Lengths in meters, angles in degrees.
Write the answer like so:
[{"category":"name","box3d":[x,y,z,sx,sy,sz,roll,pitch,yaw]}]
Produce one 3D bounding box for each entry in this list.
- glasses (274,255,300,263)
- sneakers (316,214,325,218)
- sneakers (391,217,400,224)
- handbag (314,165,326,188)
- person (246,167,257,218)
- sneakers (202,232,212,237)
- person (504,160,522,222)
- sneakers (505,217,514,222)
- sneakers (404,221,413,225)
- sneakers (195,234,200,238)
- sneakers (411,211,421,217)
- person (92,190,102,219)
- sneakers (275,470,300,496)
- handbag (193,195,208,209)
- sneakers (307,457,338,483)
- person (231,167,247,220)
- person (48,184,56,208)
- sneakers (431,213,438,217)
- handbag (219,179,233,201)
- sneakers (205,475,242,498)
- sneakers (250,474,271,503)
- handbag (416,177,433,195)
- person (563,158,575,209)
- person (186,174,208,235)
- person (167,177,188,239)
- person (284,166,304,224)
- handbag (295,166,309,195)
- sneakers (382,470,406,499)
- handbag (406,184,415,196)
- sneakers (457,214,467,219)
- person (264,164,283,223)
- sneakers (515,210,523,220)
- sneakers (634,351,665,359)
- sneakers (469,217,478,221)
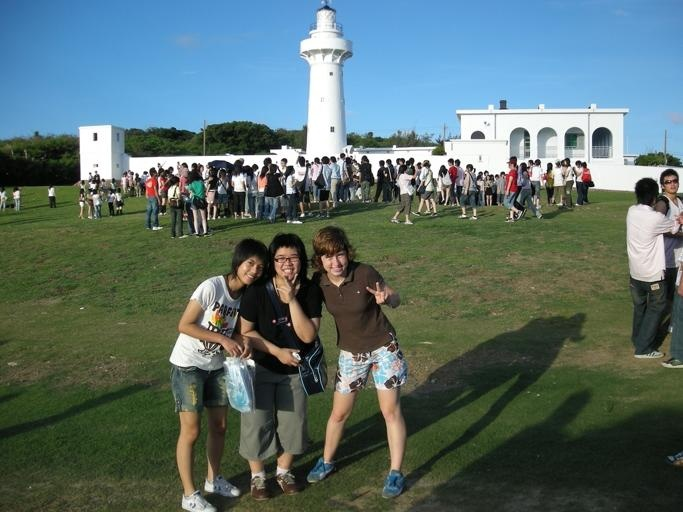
[{"category":"glasses","box3d":[-0.490,0.025,4.707,0.203,0.074,0.062,-2,8,-10]},{"category":"sneakers","box3d":[-0.778,-1.531,19.943,0.133,0.168,0.281,-2,-1,16]},{"category":"sneakers","box3d":[1.855,-1.227,18.296,0.368,0.183,0.141,4,5,10]},{"category":"handbag","box3d":[-0.837,-2.915,20.132,0.433,0.634,1.324,-1,9,-2]},{"category":"person","box3d":[-3.405,-2.397,19.778,0.400,1.837,0.767,-2,7,-11]},{"category":"sneakers","box3d":[-4.238,-0.699,16.488,0.203,0.096,0.136,-18,10,-27]},{"category":"person","box3d":[5.724,-2.292,17.896,0.865,2.054,0.607,7,12,39]},{"category":"sneakers","box3d":[5.701,-1.239,17.878,0.285,0.134,0.119,1,3,-10]},{"category":"sneakers","box3d":[2.260,-1.123,17.692,0.280,0.138,0.098,-1,25,-12]},{"category":"sneakers","box3d":[-4.509,-0.648,16.427,0.143,0.110,0.083,1,1,29]},{"category":"sneakers","box3d":[2.915,-1.646,20.452,0.130,0.148,0.363,-4,18,-34]},{"category":"person","box3d":[-10.558,-2.225,22.656,0.313,1.109,1.685,-4,9,-25]},{"category":"sneakers","box3d":[-0.511,2.127,4.963,0.118,0.120,0.282,1,6,-33]},{"category":"handbag","box3d":[-4.330,-1.641,16.139,0.507,0.501,0.308,0,3,-5]},{"category":"sneakers","box3d":[-0.188,2.104,5.186,0.126,0.169,0.338,-5,-5,27]},{"category":"person","box3d":[-3.761,-2.372,19.455,0.505,1.928,0.640,-4,8,-30]},{"category":"person","box3d":[-16.544,-3.420,30.072,0.306,1.193,1.812,-4,9,-31]},{"category":"sneakers","box3d":[3.409,-1.565,19.627,0.113,0.140,0.334,-5,10,-39]},{"category":"handbag","box3d":[-4.206,-2.439,19.011,0.644,0.841,0.419,-6,17,-28]},{"category":"sneakers","box3d":[-1.122,2.176,5.016,0.386,0.181,0.149,10,8,10]},{"category":"sneakers","box3d":[-0.755,2.147,4.869,0.112,0.112,0.273,0,-1,-13]},{"category":"handbag","box3d":[3.122,-2.607,19.641,0.403,0.766,0.544,3,0,-10]},{"category":"person","box3d":[9.312,-3.041,21.615,0.409,1.950,1.470,3,8,23]},{"category":"person","box3d":[-4.509,-1.687,16.306,0.584,1.983,0.620,-12,17,-33]},{"category":"person","box3d":[-5.076,-1.562,16.338,0.492,1.881,0.601,0,2,31]},{"category":"person","box3d":[-1.726,-2.219,18.715,0.529,1.977,1.567,-1,8,-6]},{"category":"handbag","box3d":[-1.529,-2.941,19.694,0.702,0.927,0.335,-2,-14,32]},{"category":"sneakers","box3d":[0.490,2.102,4.940,0.229,0.243,0.212,0,8,0]},{"category":"handbag","box3d":[2.346,-2.234,17.709,0.291,0.431,0.313,7,13,0]},{"category":"sneakers","box3d":[4.395,-1.461,19.205,0.312,0.157,0.149,4,5,35]},{"category":"person","box3d":[-2.405,-2.249,18.036,0.722,2.051,0.618,3,22,-11]},{"category":"sneakers","box3d":[6.174,-1.444,18.339,0.164,0.220,0.515,5,26,18]},{"category":"sneakers","box3d":[4.326,1.401,7.403,0.355,0.158,0.136,-2,1,7]},{"category":"sneakers","box3d":[4.778,-1.374,19.096,0.142,0.150,0.313,0,-3,27]}]
